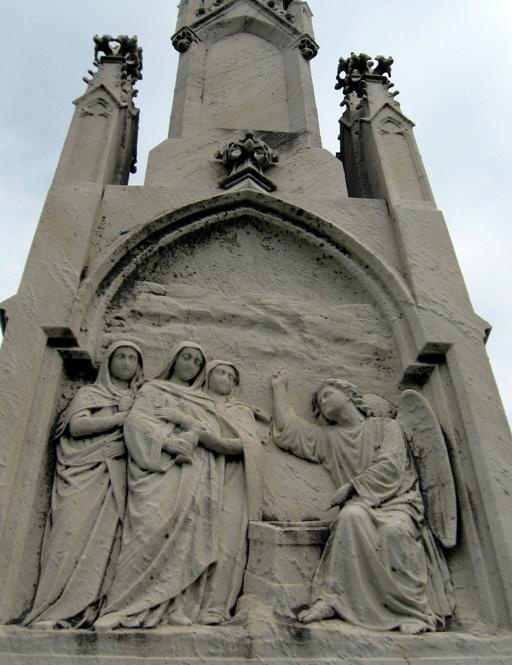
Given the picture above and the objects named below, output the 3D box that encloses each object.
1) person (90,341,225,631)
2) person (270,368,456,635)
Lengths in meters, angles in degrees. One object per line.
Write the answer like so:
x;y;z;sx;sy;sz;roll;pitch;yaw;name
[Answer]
-0.615;1.071;5.751;0.724;1.970;0.260;3;-43;-6;person
0.779;1.078;6.038;1.249;2.226;0.458;2;-43;-5;person
